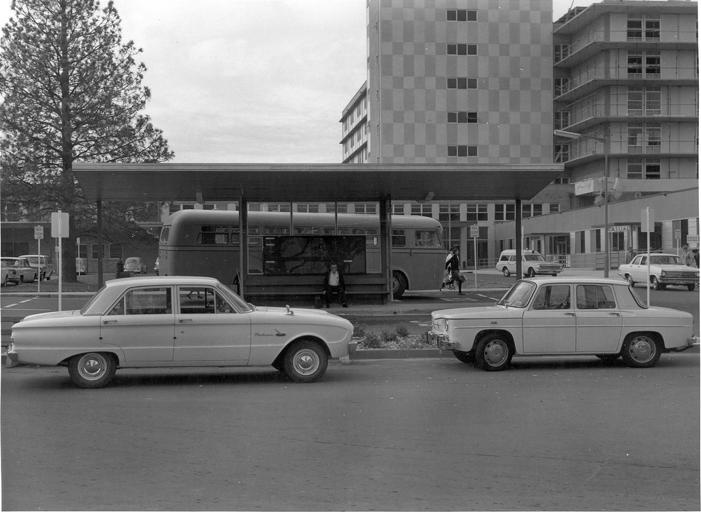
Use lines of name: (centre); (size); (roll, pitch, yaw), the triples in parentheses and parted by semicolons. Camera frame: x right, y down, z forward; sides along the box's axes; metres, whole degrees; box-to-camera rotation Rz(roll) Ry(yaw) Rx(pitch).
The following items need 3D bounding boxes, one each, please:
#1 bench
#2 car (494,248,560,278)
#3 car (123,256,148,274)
bench: (-1.370, 1.158, 31.659); (5.235, 1.140, 1.124); (-1, 0, -5)
car: (10.558, 0.478, 54.418); (1.821, 1.639, 4.510); (0, -2, -17)
car: (-15.914, 0.699, 67.473); (1.122, 0.992, 2.820); (0, -2, -8)
